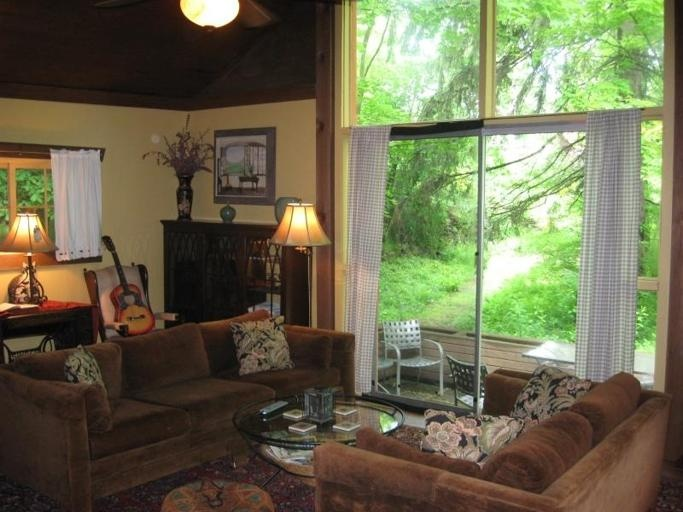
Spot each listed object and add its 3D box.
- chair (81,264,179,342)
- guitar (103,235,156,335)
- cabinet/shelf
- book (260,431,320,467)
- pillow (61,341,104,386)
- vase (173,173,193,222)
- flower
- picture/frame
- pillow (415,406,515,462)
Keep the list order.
[{"bbox_3d":[-2.375,0.383,6.000,0.668,1.093,0.302,-12,-15,-32],"label":"chair"},{"bbox_3d":[-2.280,0.252,5.986,0.478,1.176,0.167,-7,-25,-42],"label":"guitar"},{"bbox_3d":[-1.170,0.183,6.296,1.410,1.239,0.450,1,1,25],"label":"cabinet/shelf"},{"bbox_3d":[-0.351,1.296,3.890,0.288,0.105,0.230,-2,-9,40],"label":"book"},{"bbox_3d":[-1.817,0.788,4.004,0.107,0.310,0.298,-21,-7,25],"label":"pillow"},{"bbox_3d":[-1.937,-0.725,7.026,0.209,0.570,0.477,-3,6,-14],"label":"vase"},{"bbox_3d":[-2.001,-1.421,7.232,0.947,0.769,0.759,-2,12,-7],"label":"flower"},{"bbox_3d":[-1.134,-1.082,6.785,1.124,1.062,0.043,1,0,29],"label":"picture/frame"},{"bbox_3d":[0.638,0.930,2.938,0.325,0.094,0.313,2,8,40],"label":"pillow"}]
